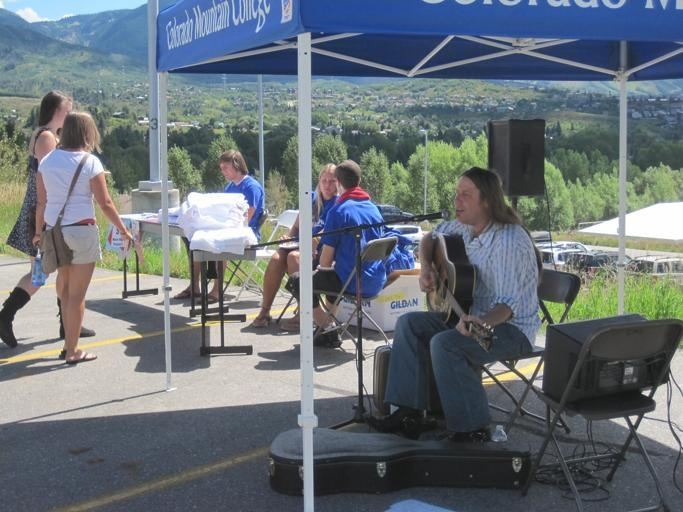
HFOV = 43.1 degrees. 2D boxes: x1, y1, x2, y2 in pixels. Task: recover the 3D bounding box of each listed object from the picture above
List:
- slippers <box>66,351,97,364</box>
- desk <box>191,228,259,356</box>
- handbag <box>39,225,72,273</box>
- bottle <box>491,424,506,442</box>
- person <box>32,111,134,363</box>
[{"bbox_3d":[-2.283,0.883,7.605,0.104,0.081,0.201,5,8,44],"label":"slippers"},{"bbox_3d":[-1.108,0.320,8.093,0.590,1.100,1.098,-3,14,-11],"label":"desk"},{"bbox_3d":[-2.388,-0.072,7.242,0.246,0.380,0.144,-11,17,-38],"label":"handbag"},{"bbox_3d":[1.043,1.165,5.728,0.130,0.137,0.091,0,1,-1],"label":"bottle"},{"bbox_3d":[-2.294,-0.135,7.473,0.749,2.186,0.699,10,17,40],"label":"person"}]
